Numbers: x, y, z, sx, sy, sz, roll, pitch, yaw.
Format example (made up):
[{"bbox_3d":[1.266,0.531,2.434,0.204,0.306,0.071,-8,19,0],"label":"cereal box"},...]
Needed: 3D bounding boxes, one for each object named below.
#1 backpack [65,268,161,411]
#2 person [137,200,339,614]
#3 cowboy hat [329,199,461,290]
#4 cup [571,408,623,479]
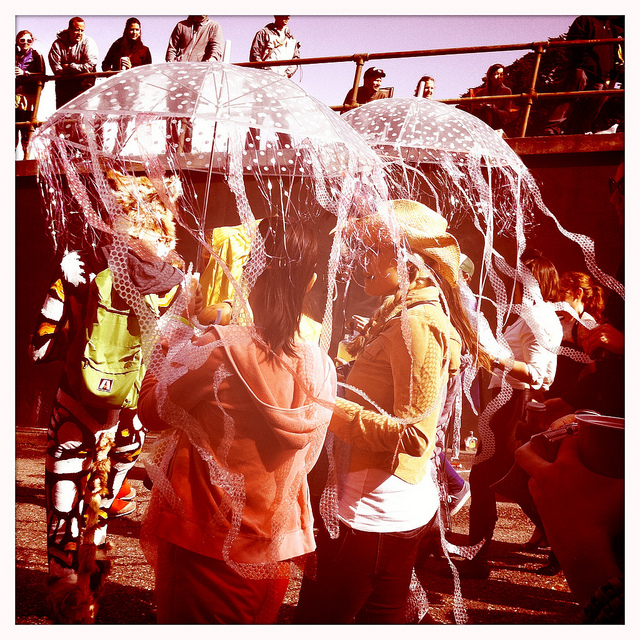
[{"bbox_3d":[-1.000,0.105,2.958,0.405,0.956,0.514,0,16,-10],"label":"backpack"},{"bbox_3d":[-0.260,0.332,1.967,0.678,1.323,0.459,-1,13,-19],"label":"person"},{"bbox_3d":[0.406,-0.351,2.320,0.270,0.129,0.290,16,3,7],"label":"cowboy hat"},{"bbox_3d":[1.218,0.529,2.574,0.203,0.230,0.203,4,13,-1],"label":"cup"}]
